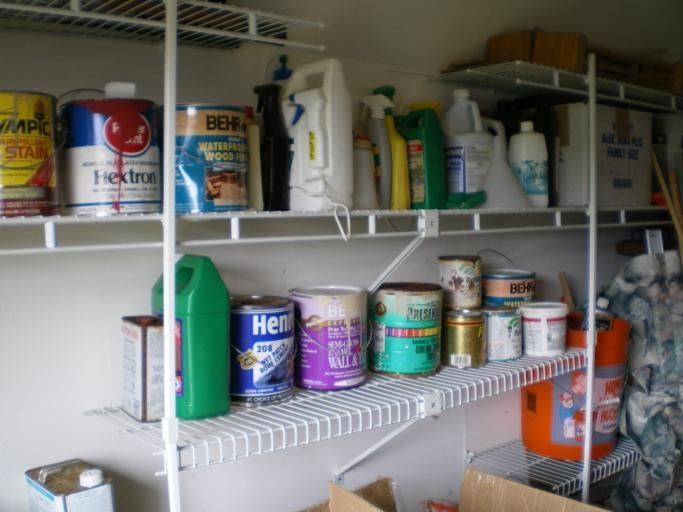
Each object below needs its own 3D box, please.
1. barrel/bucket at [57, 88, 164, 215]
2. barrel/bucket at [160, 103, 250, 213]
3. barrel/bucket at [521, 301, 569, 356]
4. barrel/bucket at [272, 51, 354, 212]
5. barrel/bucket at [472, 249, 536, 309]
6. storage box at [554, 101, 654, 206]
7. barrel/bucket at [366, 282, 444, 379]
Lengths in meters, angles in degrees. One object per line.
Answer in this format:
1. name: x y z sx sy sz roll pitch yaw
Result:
1. barrel/bucket: -0.509 -0.197 1.424 0.260 0.296 0.254 1 0 0
2. barrel/bucket: -0.308 -0.240 1.593 0.227 0.263 0.234 0 0 0
3. barrel/bucket: 0.633 0.220 1.982 0.151 0.153 0.157 -1 5 0
4. barrel/bucket: -0.065 -0.317 1.660 0.187 0.395 0.095 -4 5 0
5. barrel/bucket: 0.543 0.083 2.114 0.203 0.135 0.209 -1 7 0
6. storage box: 0.994 -0.382 2.470 0.466 0.366 0.257 -3 7 -37
7. barrel/bucket: 0.181 0.216 1.891 0.230 0.266 0.234 1 4 0
